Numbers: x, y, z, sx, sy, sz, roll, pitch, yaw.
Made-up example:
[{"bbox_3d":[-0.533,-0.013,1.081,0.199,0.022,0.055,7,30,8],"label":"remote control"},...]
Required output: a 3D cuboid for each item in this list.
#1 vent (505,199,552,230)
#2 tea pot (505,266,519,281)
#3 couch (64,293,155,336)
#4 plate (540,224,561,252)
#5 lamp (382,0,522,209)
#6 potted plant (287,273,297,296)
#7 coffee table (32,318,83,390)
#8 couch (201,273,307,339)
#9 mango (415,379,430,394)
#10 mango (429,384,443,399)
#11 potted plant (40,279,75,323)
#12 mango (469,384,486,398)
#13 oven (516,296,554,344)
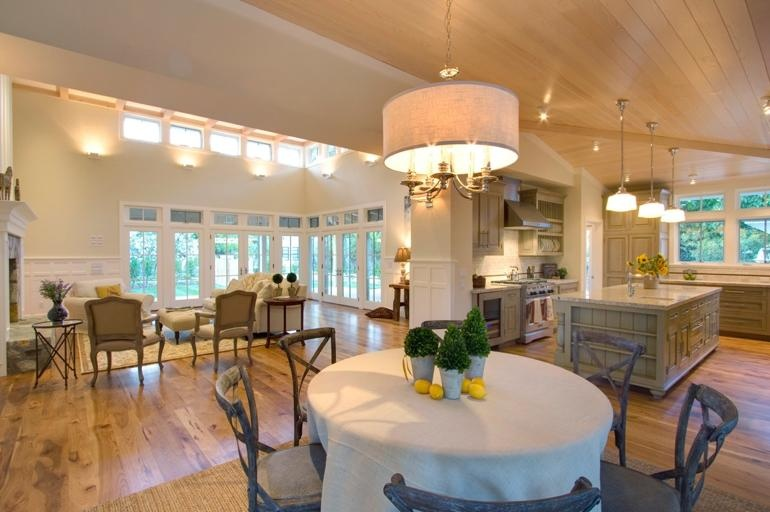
[{"bbox_3d":[2.288,-0.657,8.266,0.870,0.396,0.470,2,-7,-42],"label":"vent"},{"bbox_3d":[2.233,0.307,8.785,0.258,0.249,0.203,4,-4,-24],"label":"tea pot"},{"bbox_3d":[-4.490,0.936,8.708,1.082,0.683,0.789,-2,5,6],"label":"couch"},{"bbox_3d":[3.016,-0.345,9.196,0.523,0.474,0.201,-2,2,-27],"label":"plate"},{"bbox_3d":[0.472,-1.501,4.434,1.138,2.003,1.189,-2,2,-16],"label":"lamp"},{"bbox_3d":[-1.508,0.468,8.084,0.153,0.386,0.400,-2,1,-7],"label":"potted plant"},{"bbox_3d":[-4.461,1.348,6.686,0.617,0.731,0.647,0,0,-36],"label":"coffee table"},{"bbox_3d":[-2.422,0.819,8.886,0.898,0.913,2.101,1,1,-42],"label":"couch"},{"bbox_3d":[0.294,1.067,4.036,0.120,0.089,0.093,2,-1,34],"label":"mango"},{"bbox_3d":[0.400,1.089,3.959,0.090,0.091,0.121,0,-6,-2],"label":"mango"},{"bbox_3d":[-4.239,0.577,6.392,0.247,0.462,0.404,-3,2,-35],"label":"potted plant"},{"bbox_3d":[0.732,1.086,3.990,0.093,0.093,0.125,8,-7,-35],"label":"mango"},{"bbox_3d":[2.451,1.019,8.396,0.907,0.759,0.460,-3,4,-44],"label":"oven"}]
